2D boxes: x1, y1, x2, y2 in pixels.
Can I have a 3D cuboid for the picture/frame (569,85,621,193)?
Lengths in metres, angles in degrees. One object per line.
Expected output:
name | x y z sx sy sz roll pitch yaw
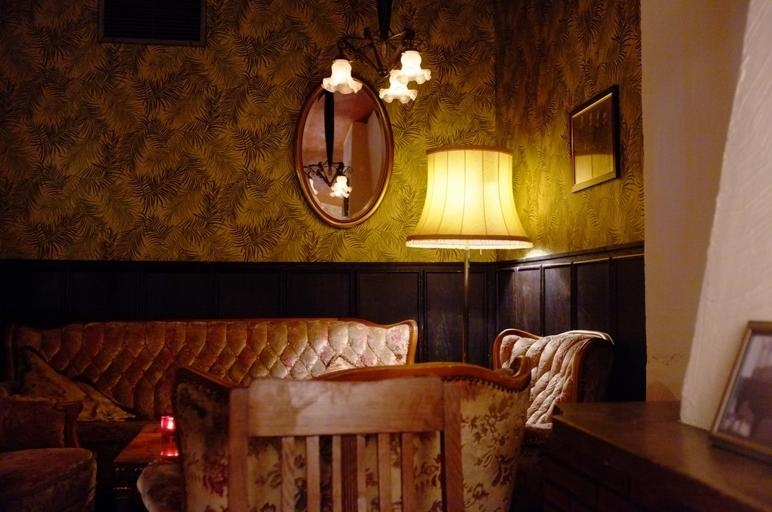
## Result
picture/frame | 1.166 -0.647 3.660 0.035 0.477 0.469 -2 -1 -14

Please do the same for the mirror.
mirror | -0.353 -0.748 4.802 0.974 1.656 0.073 1 -4 -19

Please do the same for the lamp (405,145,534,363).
lamp | 0.468 0.012 3.849 0.693 1.234 0.767 0 -1 1
